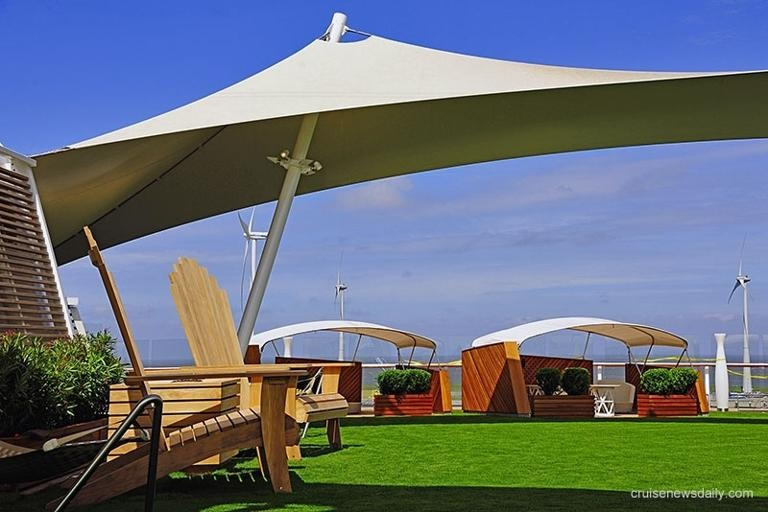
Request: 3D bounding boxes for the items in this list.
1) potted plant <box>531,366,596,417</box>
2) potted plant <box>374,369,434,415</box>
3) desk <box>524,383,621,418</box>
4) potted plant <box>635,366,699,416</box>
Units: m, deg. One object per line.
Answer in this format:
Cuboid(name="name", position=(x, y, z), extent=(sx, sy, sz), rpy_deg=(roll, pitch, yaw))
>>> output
Cuboid(name="potted plant", position=(4.196, 3.446, 15.189), extent=(1.388, 1.431, 1.683), rpy_deg=(-7, -31, 19))
Cuboid(name="potted plant", position=(0.249, 3.137, 14.703), extent=(1.404, 1.090, 0.861), rpy_deg=(-9, -15, 26))
Cuboid(name="desk", position=(4.179, 3.378, 14.484), extent=(1.684, 0.550, 1.292), rpy_deg=(0, -9, 0))
Cuboid(name="potted plant", position=(6.400, 3.024, 15.060), extent=(1.387, 1.112, 1.005), rpy_deg=(3, 9, -9))
